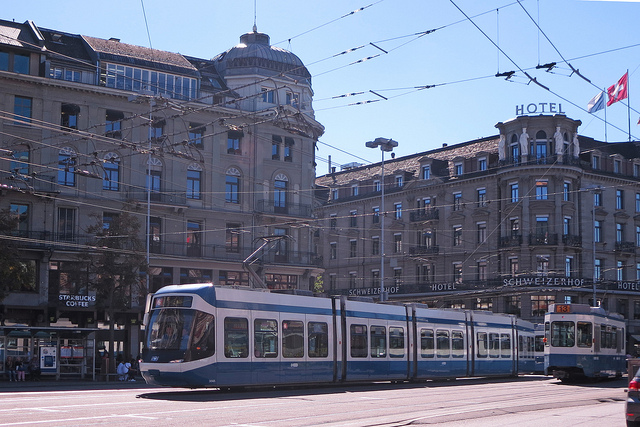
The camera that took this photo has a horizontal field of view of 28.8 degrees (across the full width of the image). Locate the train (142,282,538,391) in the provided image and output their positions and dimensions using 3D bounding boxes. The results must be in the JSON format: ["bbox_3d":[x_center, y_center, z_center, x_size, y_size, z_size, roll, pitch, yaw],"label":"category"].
[{"bbox_3d":[1.853,7.688,73.820,4.759,4.386,31.974,-7,-10,39],"label":"train"}]

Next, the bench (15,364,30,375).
[{"bbox_3d":[-18.109,9.393,75.526,0.865,0.695,0.427,-1,8,-9],"label":"bench"}]

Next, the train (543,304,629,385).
[{"bbox_3d":[16.543,8.500,77.602,3.030,3.659,8.466,-8,-14,37],"label":"train"}]
